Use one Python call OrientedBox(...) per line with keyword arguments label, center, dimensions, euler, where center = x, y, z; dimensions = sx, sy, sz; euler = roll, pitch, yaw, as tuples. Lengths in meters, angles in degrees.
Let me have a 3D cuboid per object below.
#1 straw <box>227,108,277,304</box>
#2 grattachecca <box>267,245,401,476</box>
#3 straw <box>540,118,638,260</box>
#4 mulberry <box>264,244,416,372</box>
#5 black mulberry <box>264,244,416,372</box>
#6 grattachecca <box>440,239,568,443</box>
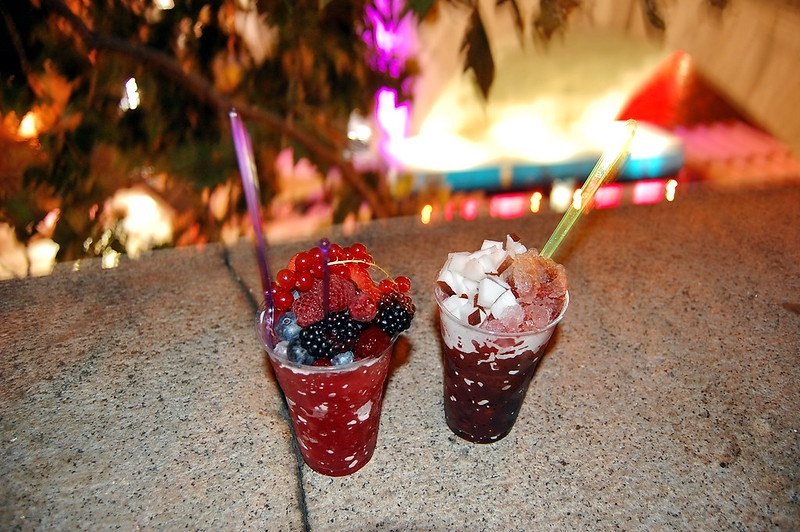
OrientedBox(label="straw", center=(-0.609, -0.268, 2.682), dimensions=(0.073, 0.072, 0.924), euler=(0, 59, -33))
OrientedBox(label="grattachecca", center=(-0.289, 0.476, 2.960), dimensions=(0.418, 1.144, 0.549), euler=(-2, 31, -9))
OrientedBox(label="straw", center=(0.831, -0.357, 2.892), dimensions=(0.306, 0.763, 0.270), euler=(14, 23, 36))
OrientedBox(label="mulberry", center=(-0.267, 0.091, 2.750), dimensions=(0.637, 0.487, 0.455), euler=(-12, 33, -13))
OrientedBox(label="black mulberry", center=(-0.267, 0.091, 2.750), dimensions=(0.637, 0.487, 0.455), euler=(-12, 33, -13))
OrientedBox(label="grattachecca", center=(0.391, 0.325, 3.123), dimensions=(0.570, 0.885, 0.593), euler=(2, 32, -2))
